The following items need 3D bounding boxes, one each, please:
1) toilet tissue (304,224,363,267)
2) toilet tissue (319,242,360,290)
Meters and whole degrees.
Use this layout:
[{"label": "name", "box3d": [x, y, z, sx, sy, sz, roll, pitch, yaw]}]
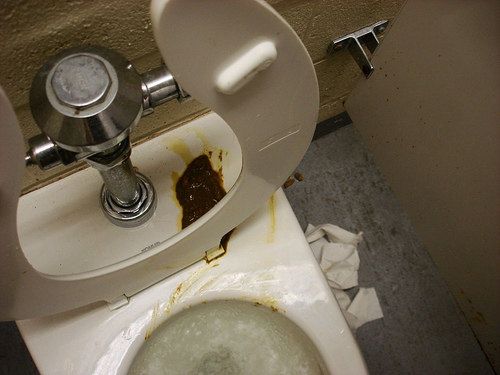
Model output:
[{"label": "toilet tissue", "box3d": [0.189, 0.119, 1.202, 0.177, 0.133, 0.059, -10, 98, -40]}, {"label": "toilet tissue", "box3d": [0.215, 0.188, 1.169, 0.089, 0.035, 0.135, -8, 87, -16]}]
